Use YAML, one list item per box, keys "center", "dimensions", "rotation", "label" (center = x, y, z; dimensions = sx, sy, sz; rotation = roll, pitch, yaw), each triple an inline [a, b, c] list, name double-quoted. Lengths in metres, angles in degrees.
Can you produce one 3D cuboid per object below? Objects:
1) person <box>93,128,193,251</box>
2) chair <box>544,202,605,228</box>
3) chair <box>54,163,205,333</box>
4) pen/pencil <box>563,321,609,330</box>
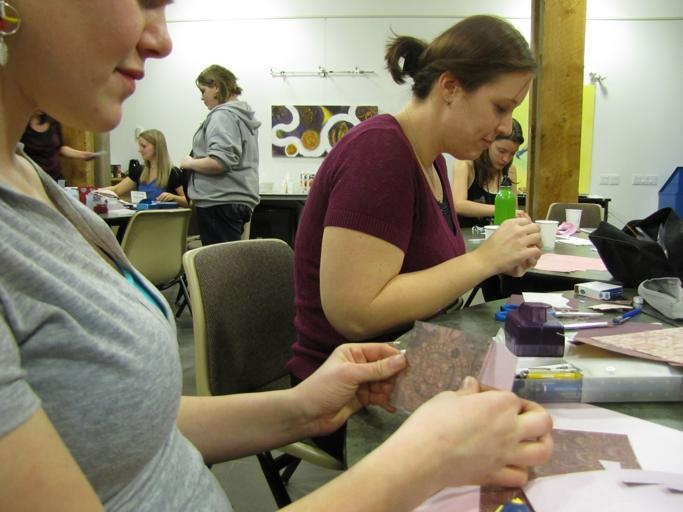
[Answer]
- center: [-1.837, -0.563, 4.895]
  dimensions: [0.819, 1.185, 0.558]
  rotation: [1, 11, 4]
  label: "person"
- center: [1.327, -0.237, 2.950]
  dimensions: [0.406, 0.151, 0.283]
  rotation: [3, 4, 3]
  label: "chair"
- center: [-1.316, -0.090, 2.960]
  dimensions: [0.791, 1.093, 0.681]
  rotation: [35, 35, 32]
  label: "chair"
- center: [0.492, 0.139, 1.031]
  dimensions: [0.082, 0.010, 0.014]
  rotation: [-2, 8, -10]
  label: "pen/pencil"
